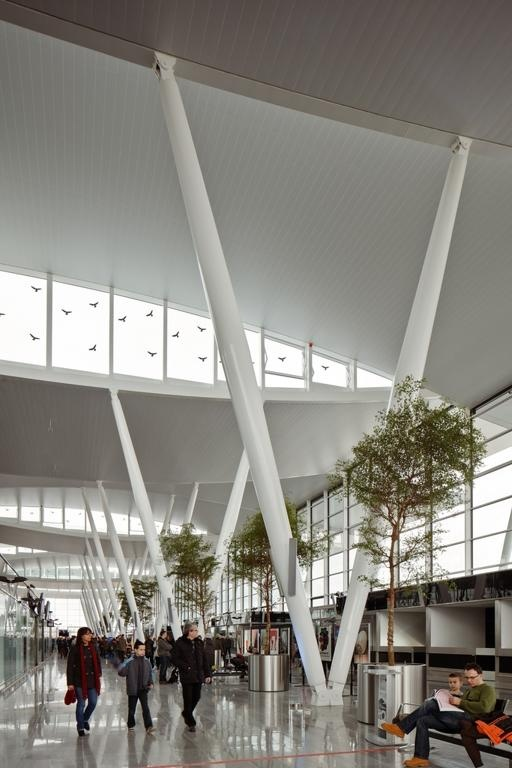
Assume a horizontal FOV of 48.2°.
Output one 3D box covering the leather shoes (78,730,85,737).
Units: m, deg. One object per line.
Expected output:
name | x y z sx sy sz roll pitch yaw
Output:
leather shoes | -2.415 4.805 7.890 0.062 0.103 0.136 7 -31 -12

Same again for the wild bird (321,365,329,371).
wild bird | 3.185 -0.752 26.821 0.314 0.272 0.069 -1 -9 -7

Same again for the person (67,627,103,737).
person | -2.480 4.237 8.186 0.440 1.665 1.489 1 -11 -16

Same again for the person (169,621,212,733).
person | -0.981 4.412 8.688 0.523 1.704 1.209 -1 -10 -5

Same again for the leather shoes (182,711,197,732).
leather shoes | -0.983 4.985 8.442 0.147 0.284 0.556 5 -17 -11

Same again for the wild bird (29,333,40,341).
wild bird | -9.854 -2.048 25.359 0.503 0.264 0.203 26 -10 -16
